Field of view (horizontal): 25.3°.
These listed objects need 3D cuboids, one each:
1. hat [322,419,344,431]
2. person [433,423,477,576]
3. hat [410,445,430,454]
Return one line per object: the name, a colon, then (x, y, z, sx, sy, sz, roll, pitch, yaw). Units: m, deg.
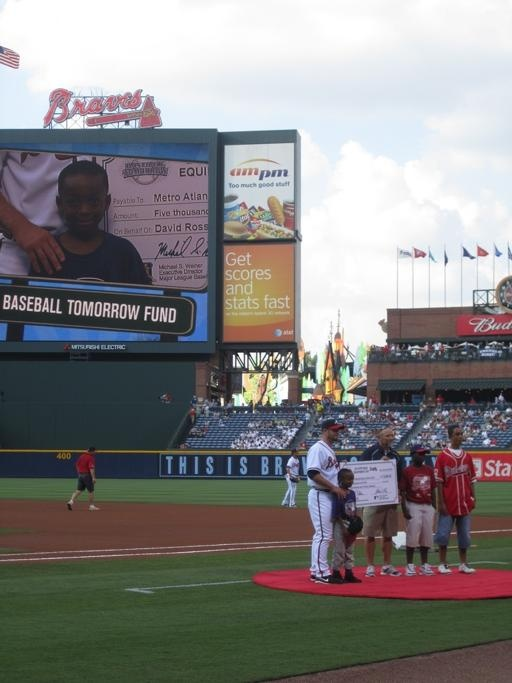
hat: (0.780, 0.888, 12.072, 0.272, 0.131, 0.169, -4, -4, 12)
person: (2.240, 1.780, 12.910, 0.493, 1.447, 0.595, -8, -3, 28)
hat: (1.802, 1.161, 12.535, 0.147, 0.096, 0.189, 5, -12, -25)
